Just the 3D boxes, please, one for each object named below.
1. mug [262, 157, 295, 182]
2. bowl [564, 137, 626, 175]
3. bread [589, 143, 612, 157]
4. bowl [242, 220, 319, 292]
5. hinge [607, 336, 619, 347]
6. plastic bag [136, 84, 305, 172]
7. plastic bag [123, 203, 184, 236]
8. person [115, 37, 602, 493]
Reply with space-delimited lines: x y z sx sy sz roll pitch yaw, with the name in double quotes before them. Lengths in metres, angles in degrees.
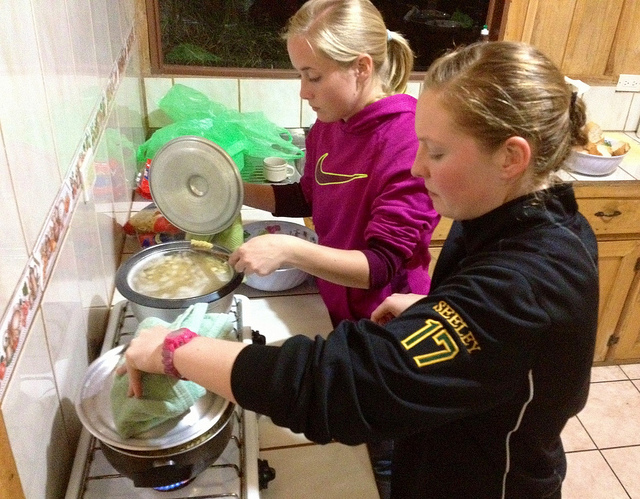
"mug" -0.190 -0.380 2.158 0.160 0.089 0.133 -3 28 -15
"bowl" 1.454 -0.442 2.375 0.297 0.108 0.302 -5 16 1
"bread" 1.412 -0.495 2.283 0.101 0.037 0.179 20 31 28
"bowl" -0.135 -0.021 1.604 0.271 0.224 0.361 -1 27 -9
"hinge" 1.700 0.529 2.641 0.047 0.060 0.014 2 59 3
"plastic bag" -0.468 -0.540 2.233 0.616 0.213 0.584 5 21 -32
"plastic bag" -0.629 -0.116 1.647 0.060 0.087 0.159 13 -2 3
"person" 0.137 0.150 0.819 0.772 0.959 0.361 -7 29 -20
